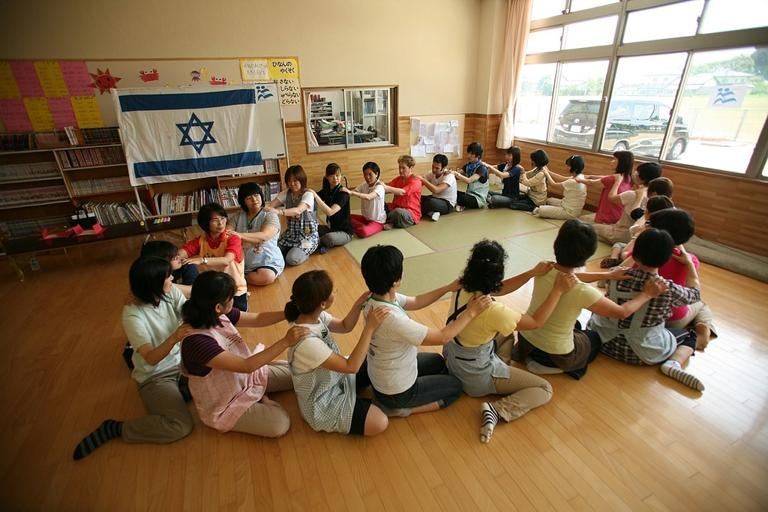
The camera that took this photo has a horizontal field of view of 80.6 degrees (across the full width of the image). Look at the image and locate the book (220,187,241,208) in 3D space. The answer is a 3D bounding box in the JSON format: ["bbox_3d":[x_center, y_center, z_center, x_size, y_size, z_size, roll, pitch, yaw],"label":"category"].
[{"bbox_3d":[-2.292,-0.873,6.756,0.314,0.294,0.074,-6,13,-36],"label":"book"}]

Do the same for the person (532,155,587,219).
[{"bbox_3d":[2.493,-0.963,6.435,0.719,0.893,0.781,16,38,29],"label":"person"}]

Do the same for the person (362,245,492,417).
[{"bbox_3d":[0.316,0.567,3.582,0.930,1.273,0.672,-4,17,-9],"label":"person"}]

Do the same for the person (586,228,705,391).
[{"bbox_3d":[2.224,0.511,3.847,0.819,1.021,0.798,-39,43,-24],"label":"person"}]

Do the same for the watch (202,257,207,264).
[{"bbox_3d":[-1.641,0.045,4.196,0.050,0.042,0.069,-4,24,-6],"label":"watch"}]

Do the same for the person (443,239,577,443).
[{"bbox_3d":[1.006,0.746,3.587,0.816,1.153,0.911,-19,38,-6],"label":"person"}]

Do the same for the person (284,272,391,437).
[{"bbox_3d":[-0.344,0.789,3.385,0.674,0.959,0.791,-10,34,-15],"label":"person"}]

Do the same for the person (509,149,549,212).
[{"bbox_3d":[2.139,-1.086,6.675,0.615,0.968,0.664,8,45,16],"label":"person"}]

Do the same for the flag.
[{"bbox_3d":[-2.732,-1.694,6.184,1.648,1.109,0.132,-13,31,-20],"label":"flag"}]

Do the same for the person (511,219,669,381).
[{"bbox_3d":[1.767,0.427,3.848,0.764,1.129,0.790,-31,46,-20],"label":"person"}]
